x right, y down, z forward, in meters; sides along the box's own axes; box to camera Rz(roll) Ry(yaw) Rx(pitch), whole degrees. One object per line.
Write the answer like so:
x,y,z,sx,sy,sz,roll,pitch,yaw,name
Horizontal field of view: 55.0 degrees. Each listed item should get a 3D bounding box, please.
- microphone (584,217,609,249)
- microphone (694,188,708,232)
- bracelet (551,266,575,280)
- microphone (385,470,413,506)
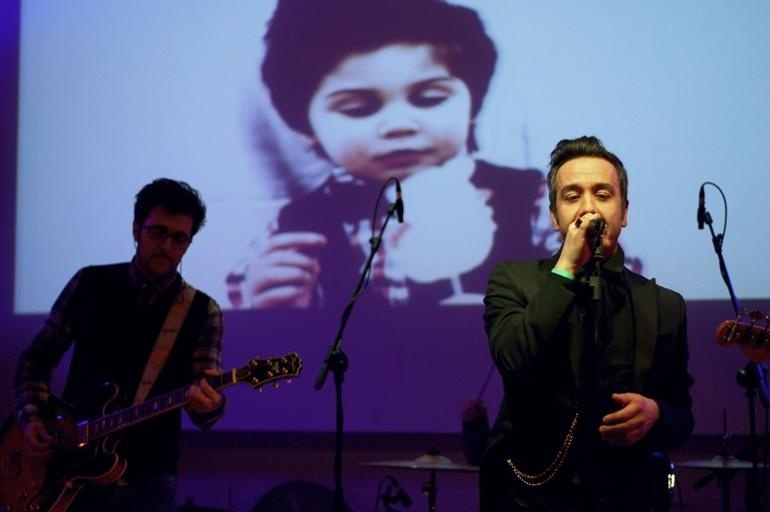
1.048,-0.108,3.709,0.085,0.167,0.093,2,-3,22,microphone
2.109,-0.336,4.965,0.055,0.329,0.435,2,-3,22,microphone
0.876,0.088,3.669,0.067,0.020,0.069,20,-2,39,bracelet
0.110,1.616,5.036,0.221,0.219,0.140,-26,-34,25,microphone
